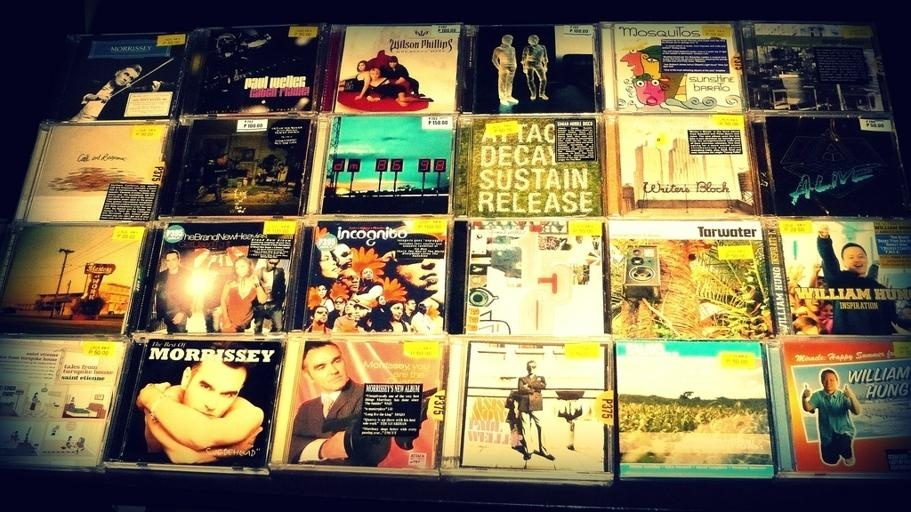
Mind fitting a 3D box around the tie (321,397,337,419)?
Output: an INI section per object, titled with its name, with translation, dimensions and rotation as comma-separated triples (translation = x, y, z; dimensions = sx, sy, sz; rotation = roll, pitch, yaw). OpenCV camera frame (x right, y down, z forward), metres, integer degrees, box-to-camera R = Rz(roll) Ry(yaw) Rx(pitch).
[tie]
translation = -0.915, 1.071, 4.703
dimensions = 0.163, 0.125, 0.037
rotation = -4, -16, 6
